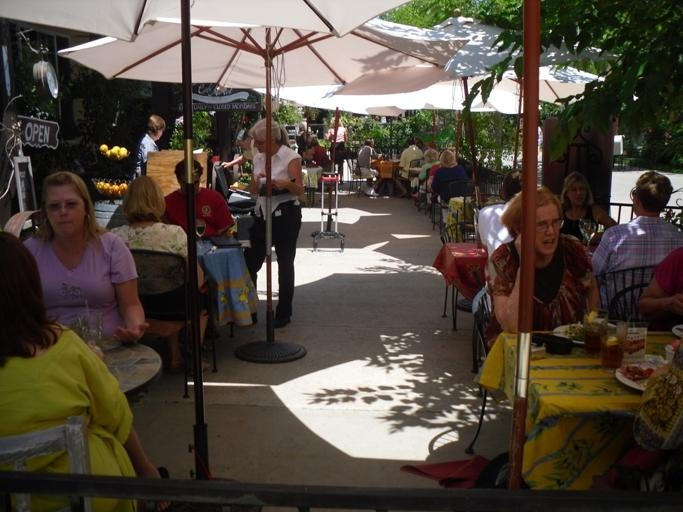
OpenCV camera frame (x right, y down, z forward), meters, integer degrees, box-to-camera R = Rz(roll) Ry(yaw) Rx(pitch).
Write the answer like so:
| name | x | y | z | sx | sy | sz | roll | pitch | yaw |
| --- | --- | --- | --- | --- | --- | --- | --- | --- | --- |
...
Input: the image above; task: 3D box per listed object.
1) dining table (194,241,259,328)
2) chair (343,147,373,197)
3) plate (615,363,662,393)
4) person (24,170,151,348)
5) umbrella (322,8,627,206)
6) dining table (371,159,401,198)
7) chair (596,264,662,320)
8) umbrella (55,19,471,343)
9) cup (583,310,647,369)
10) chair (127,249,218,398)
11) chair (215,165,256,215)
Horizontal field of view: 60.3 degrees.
| name | x | y | z | sx | sy | sz | roll | pitch | yaw |
| --- | --- | --- | --- | --- | --- | --- | --- | --- | --- |
| dining table | -0.998 | 0.297 | 5.925 | 0.629 | 0.775 | 0.755 | -9 | 4 | 13 |
| chair | 0.802 | -2.906 | 19.473 | 0.923 | 1.837 | 0.925 | -3 | 17 | -13 |
| plate | 1.427 | 0.582 | 2.816 | 0.170 | 0.029 | 0.185 | -7 | 12 | 18 |
| person | -1.706 | 0.085 | 3.673 | 0.774 | 1.201 | 0.706 | -8 | 9 | -19 |
| umbrella | 1.498 | -2.007 | 6.651 | 2.771 | 1.609 | 2.987 | 1 | 1 | 5 |
| dining table | 1.534 | -2.570 | 19.978 | 1.055 | 1.113 | 1.136 | 3 | 1 | 19 |
| chair | 2.118 | 0.273 | 4.300 | 0.297 | 0.433 | 0.301 | -1 | 20 | 8 |
| umbrella | -0.945 | -0.423 | 6.635 | 3.436 | 3.351 | 3.673 | 8 | 11 | 29 |
| cup | 1.449 | 0.453 | 3.119 | 0.199 | 0.253 | 0.328 | 1 | 0 | 4 |
| chair | -1.564 | 0.498 | 5.317 | 0.695 | 1.370 | 0.780 | -2 | 12 | -8 |
| chair | -1.747 | -1.117 | 10.110 | 0.689 | 0.909 | 0.632 | -1 | 10 | -13 |
